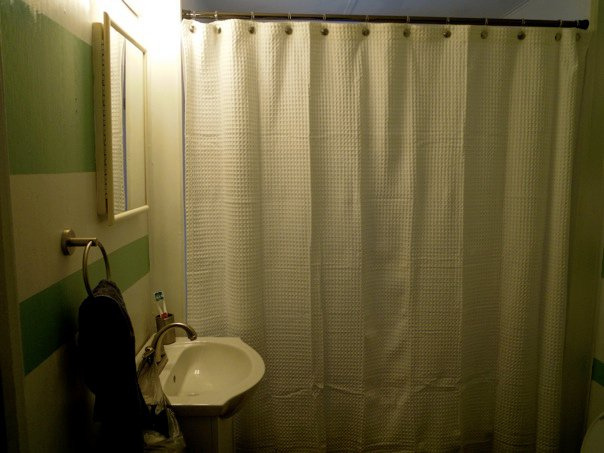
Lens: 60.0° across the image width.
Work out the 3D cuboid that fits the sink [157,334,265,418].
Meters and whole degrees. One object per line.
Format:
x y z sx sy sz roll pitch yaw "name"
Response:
-0.368 0.571 2.086 0.281 0.116 0.338 0 21 -8 "sink"
